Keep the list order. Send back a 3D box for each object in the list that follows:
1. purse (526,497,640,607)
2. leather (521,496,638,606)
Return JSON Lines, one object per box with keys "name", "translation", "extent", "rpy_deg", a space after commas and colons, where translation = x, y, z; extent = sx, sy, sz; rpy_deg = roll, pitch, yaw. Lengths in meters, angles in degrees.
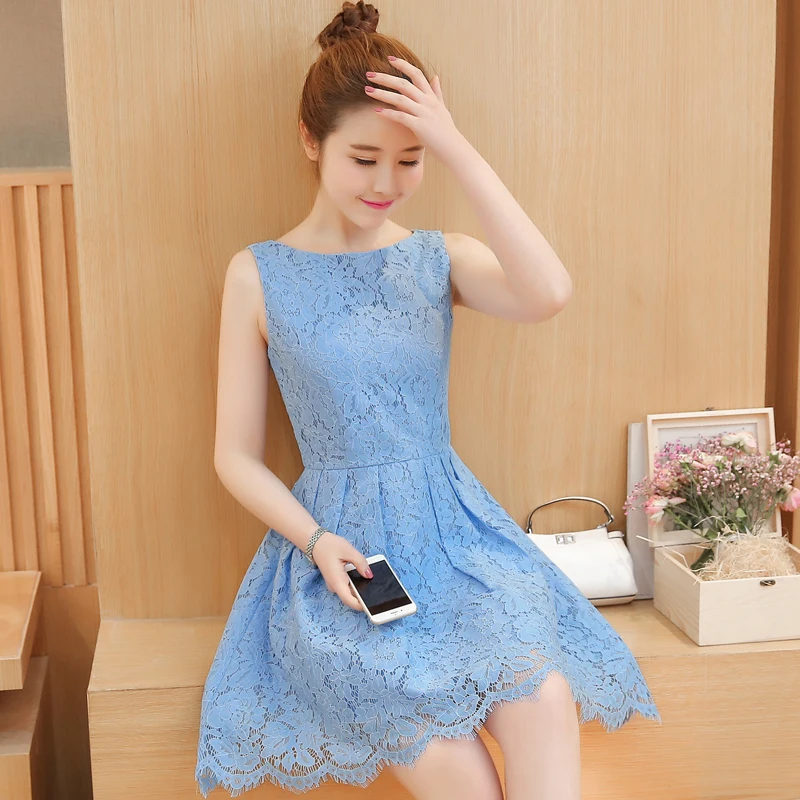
{"name": "purse", "translation": [0.350, 0.295, 1.535], "extent": [0.196, 0.189, 0.076], "rpy_deg": [-6, -22, -4]}
{"name": "leather", "translation": [0.341, 0.293, 1.527], "extent": [0.196, 0.189, 0.074], "rpy_deg": [-6, -23, -5]}
